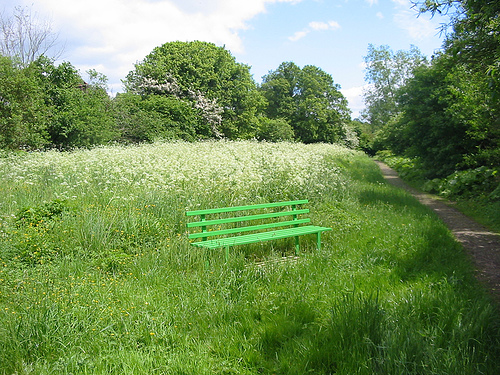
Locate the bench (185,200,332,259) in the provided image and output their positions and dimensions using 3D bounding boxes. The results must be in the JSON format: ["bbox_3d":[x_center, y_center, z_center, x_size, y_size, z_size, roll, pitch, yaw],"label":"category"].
[{"bbox_3d":[0.020,0.898,8.936,3.137,1.106,1.471,-2,2,-32],"label":"bench"}]
